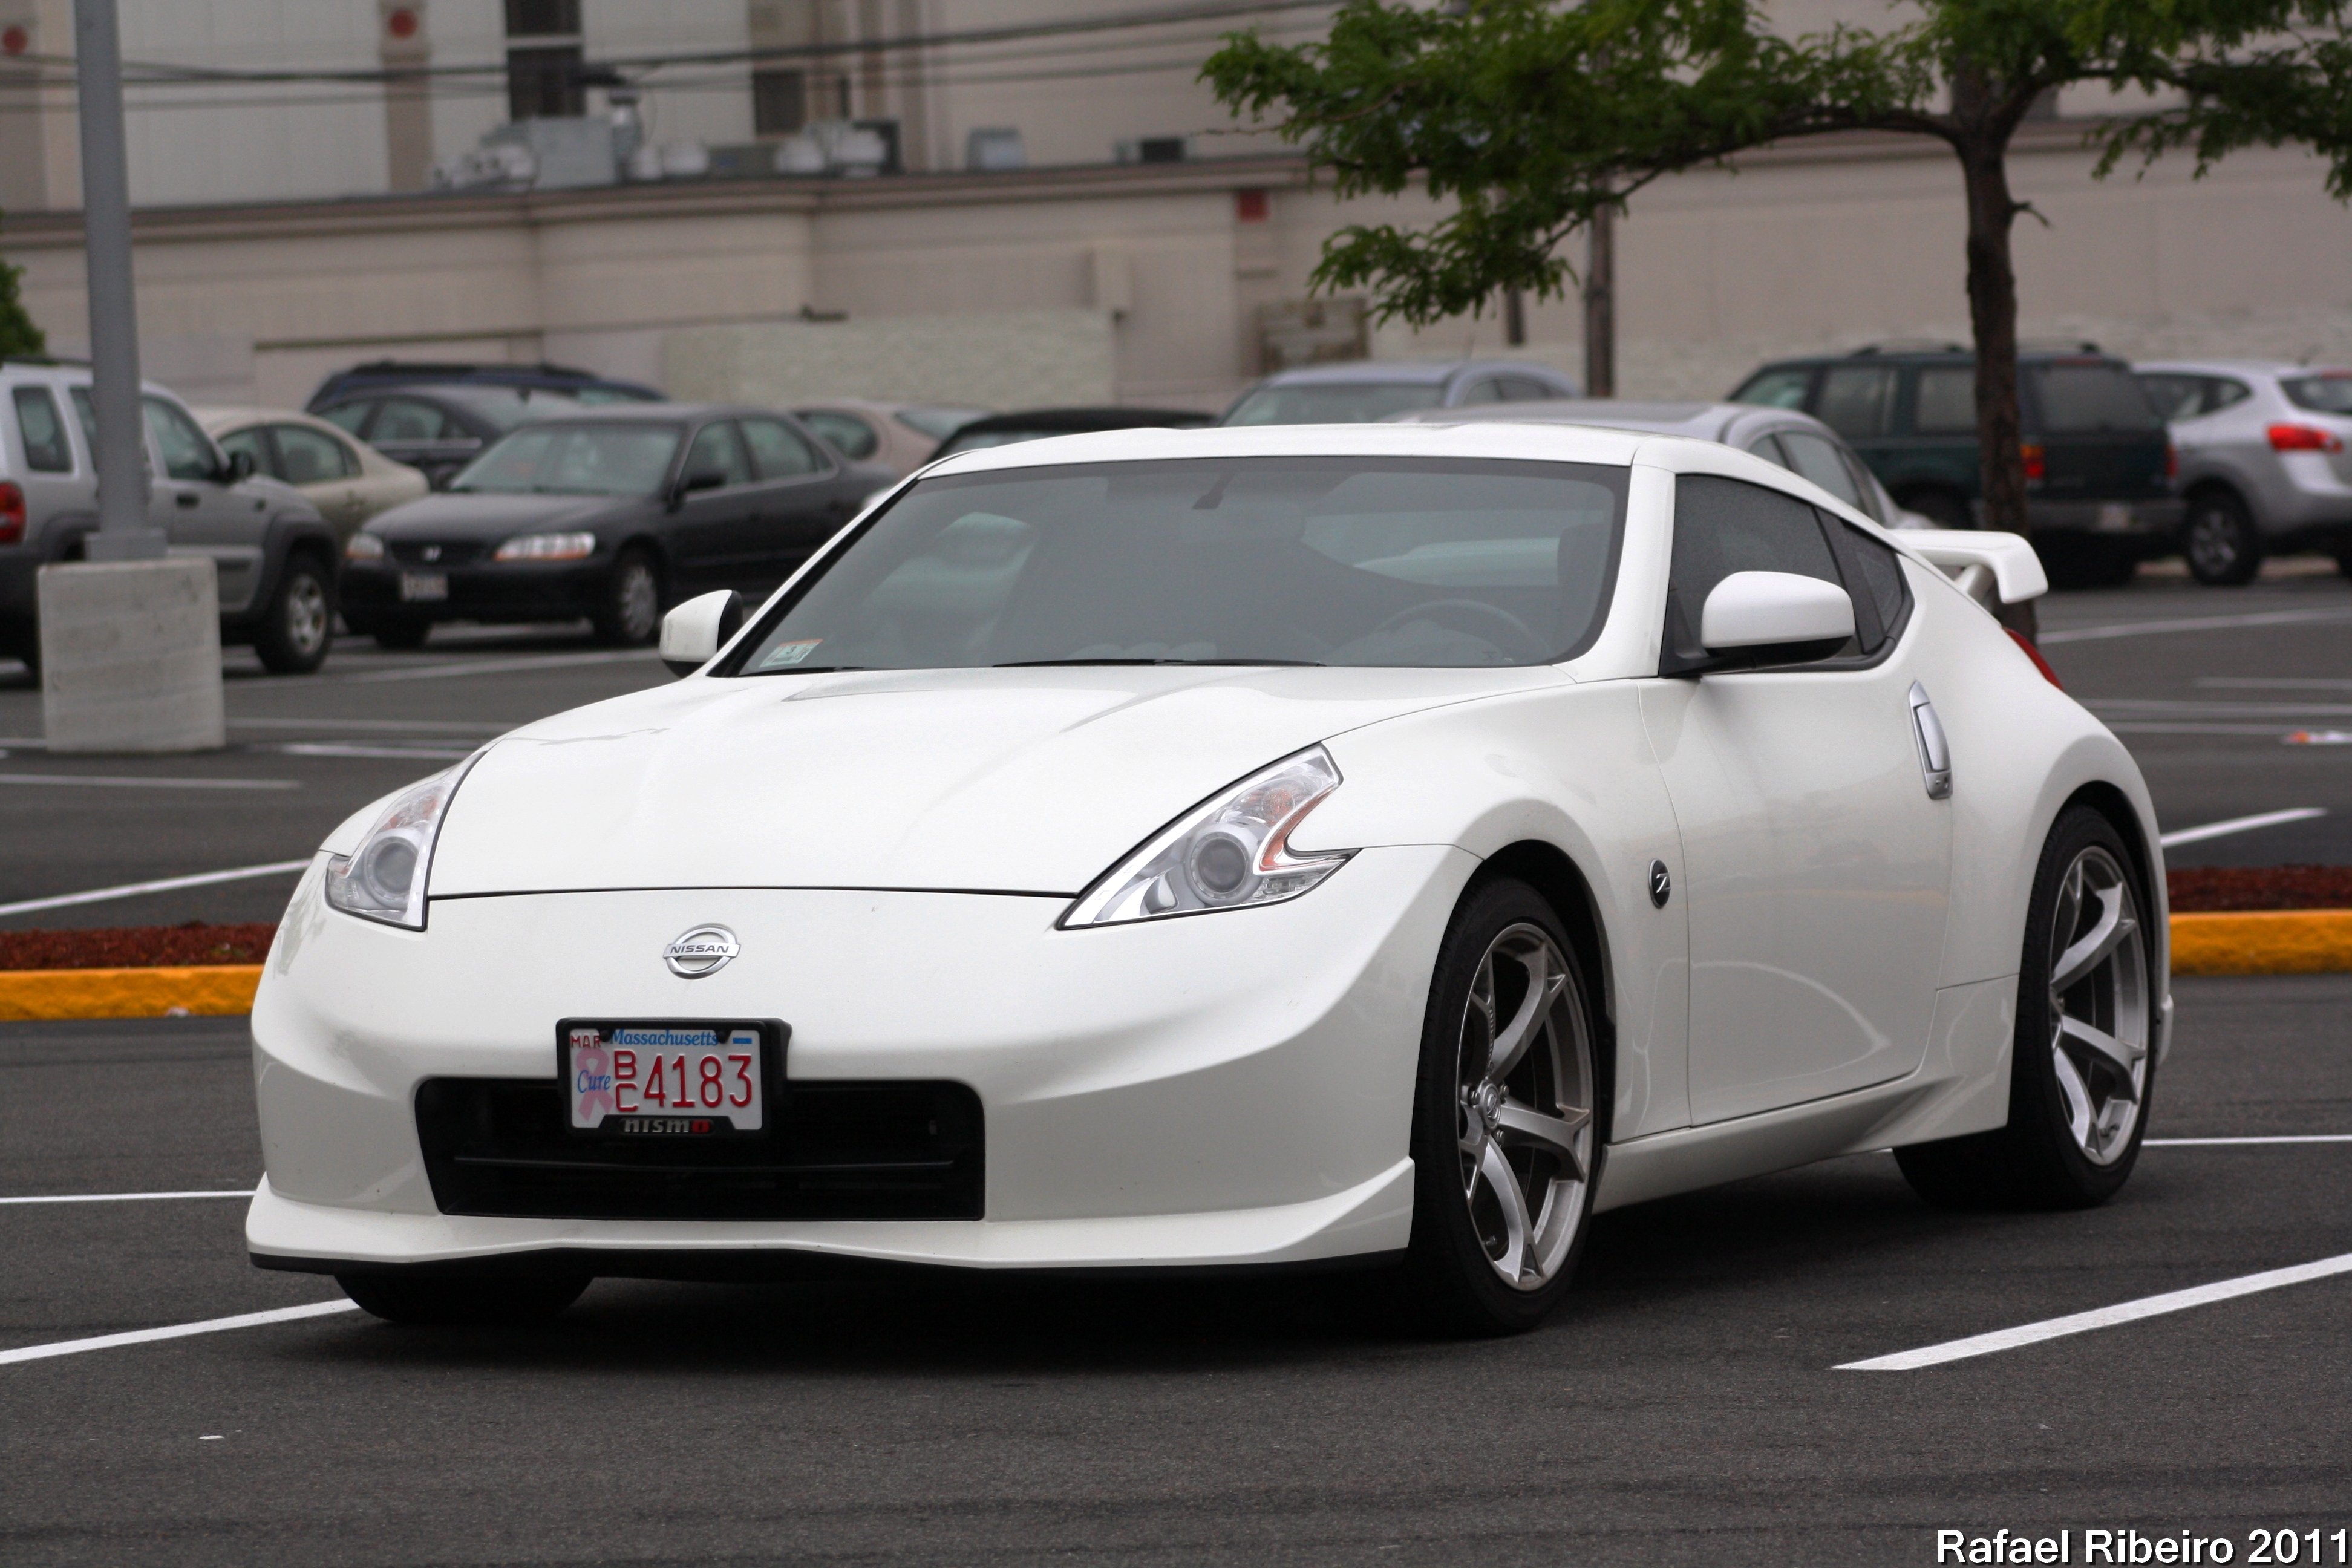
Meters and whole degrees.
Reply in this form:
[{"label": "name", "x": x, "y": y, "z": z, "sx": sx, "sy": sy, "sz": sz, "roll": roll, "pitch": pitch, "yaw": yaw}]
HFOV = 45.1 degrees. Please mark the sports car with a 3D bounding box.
[{"label": "sports car", "x": 0.214, "y": 0.155, "z": 6.683, "sx": 4.460, "sy": 2.101, "sz": 1.889, "roll": -3, "pitch": 4, "yaw": -34}]
